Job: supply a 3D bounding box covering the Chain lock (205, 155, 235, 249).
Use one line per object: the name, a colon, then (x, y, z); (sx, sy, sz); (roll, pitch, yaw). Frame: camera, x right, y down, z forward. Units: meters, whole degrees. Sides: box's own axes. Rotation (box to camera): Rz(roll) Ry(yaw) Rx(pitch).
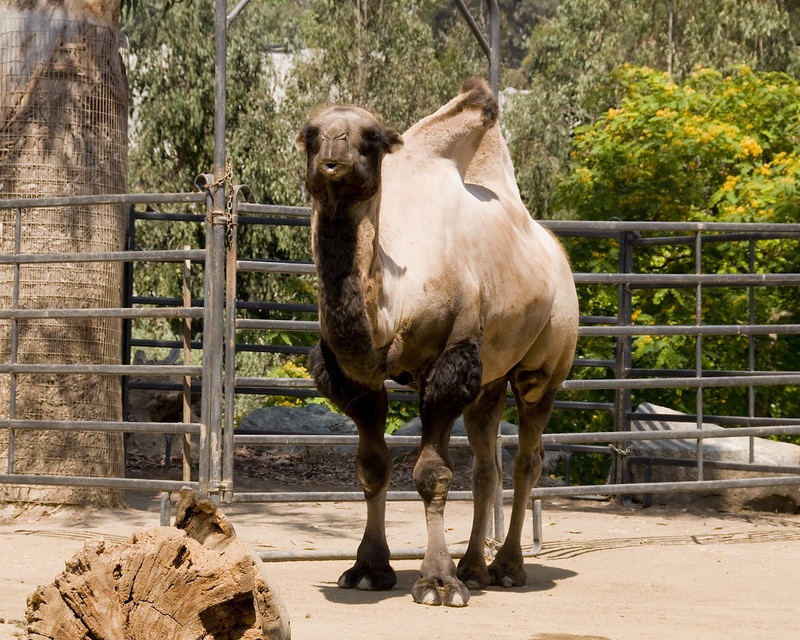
Chain lock: (-1.763, -1.191, 20.130); (0.281, 0.907, 0.327); (1, 1, 23)
